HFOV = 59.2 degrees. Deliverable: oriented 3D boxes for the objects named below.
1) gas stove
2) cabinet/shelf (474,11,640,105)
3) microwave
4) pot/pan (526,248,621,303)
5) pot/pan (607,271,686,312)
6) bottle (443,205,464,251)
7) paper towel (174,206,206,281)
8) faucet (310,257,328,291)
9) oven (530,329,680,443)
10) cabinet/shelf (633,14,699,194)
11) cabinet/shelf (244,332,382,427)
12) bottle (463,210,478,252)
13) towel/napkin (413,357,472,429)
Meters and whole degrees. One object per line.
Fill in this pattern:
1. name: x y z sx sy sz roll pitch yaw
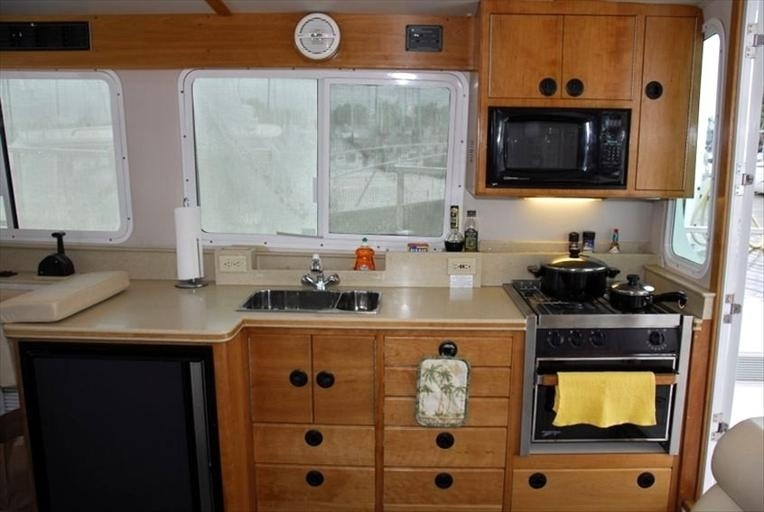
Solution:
1. gas stove: 1.339 0.308 4.414 0.985 0.172 0.656 -1 10 -1
2. cabinet/shelf: 1.149 -1.337 4.594 1.032 0.582 0.557 -3 8 -8
3. microwave: 1.132 -0.711 4.147 0.855 0.493 0.529 1 5 2
4. pot/pan: 1.226 0.147 4.326 0.456 0.218 0.315 0 8 12
5. pot/pan: 1.601 0.245 4.170 0.241 0.163 0.401 -5 11 -19
6. bottle: 0.510 -0.198 4.771 0.131 0.314 0.203 0 11 7
7. paper towel: -1.316 -0.087 4.600 0.160 0.489 0.052 -6 12 -25
8. faucet: -0.426 0.109 4.537 0.104 0.233 0.075 -3 11 -10
9. oven: 1.293 0.637 4.400 1.065 0.970 0.699 0 2 3
10. cabinet/shelf: 1.828 -1.009 4.439 0.450 1.270 0.121 -1 7 -10
11. cabinet/shelf: -0.424 0.766 4.171 0.974 0.647 0.541 1 4 0
12. bottle: 0.634 -0.174 4.775 0.108 0.281 0.199 0 11 7
13. towel/napkin: 0.370 0.824 4.138 0.459 0.554 0.045 1 8 4
